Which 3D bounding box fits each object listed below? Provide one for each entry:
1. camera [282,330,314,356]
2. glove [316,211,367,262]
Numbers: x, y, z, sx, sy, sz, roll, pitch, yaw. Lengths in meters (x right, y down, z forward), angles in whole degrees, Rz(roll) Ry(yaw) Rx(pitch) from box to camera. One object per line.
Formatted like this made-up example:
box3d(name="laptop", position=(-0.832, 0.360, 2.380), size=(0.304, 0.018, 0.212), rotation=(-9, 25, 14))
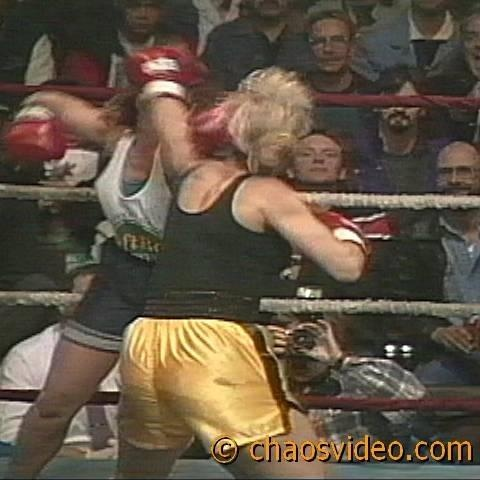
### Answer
box3d(name="camera", position=(0.280, 0.488, 6.500), size=(0.141, 0.099, 0.037), rotation=(-6, 0, 5))
box3d(name="glove", position=(0.501, -0.038, 6.597), size=(0.273, 0.094, 0.200), rotation=(38, 24, 5))
